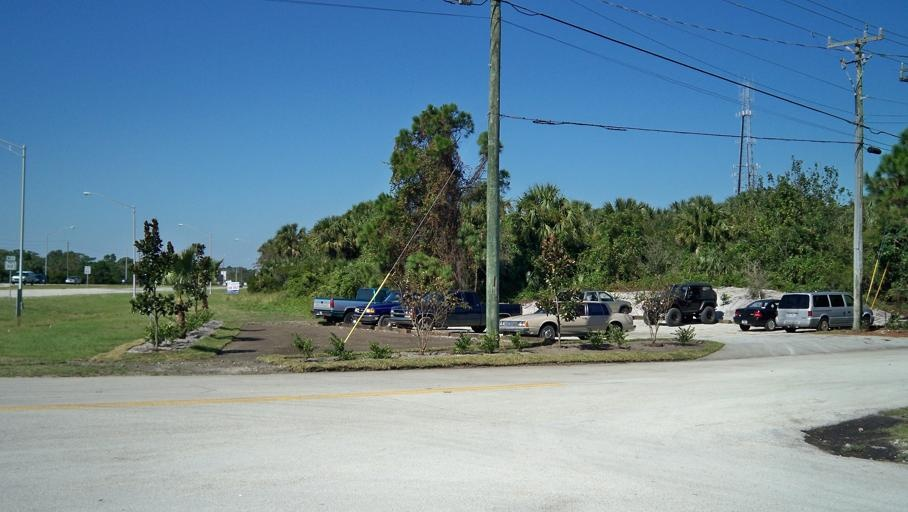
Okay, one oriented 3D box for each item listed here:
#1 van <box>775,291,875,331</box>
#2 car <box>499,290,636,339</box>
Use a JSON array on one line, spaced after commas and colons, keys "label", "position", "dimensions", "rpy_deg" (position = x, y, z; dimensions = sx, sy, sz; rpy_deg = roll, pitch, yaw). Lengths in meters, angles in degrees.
[{"label": "van", "position": [20.618, 3.150, 44.390], "dimensions": [5.476, 2.145, 2.661], "rpy_deg": [0, -2, -27]}, {"label": "car", "position": [5.055, 3.362, 38.825], "dimensions": [6.244, 2.063, 2.514], "rpy_deg": [0, -1, -25]}]
